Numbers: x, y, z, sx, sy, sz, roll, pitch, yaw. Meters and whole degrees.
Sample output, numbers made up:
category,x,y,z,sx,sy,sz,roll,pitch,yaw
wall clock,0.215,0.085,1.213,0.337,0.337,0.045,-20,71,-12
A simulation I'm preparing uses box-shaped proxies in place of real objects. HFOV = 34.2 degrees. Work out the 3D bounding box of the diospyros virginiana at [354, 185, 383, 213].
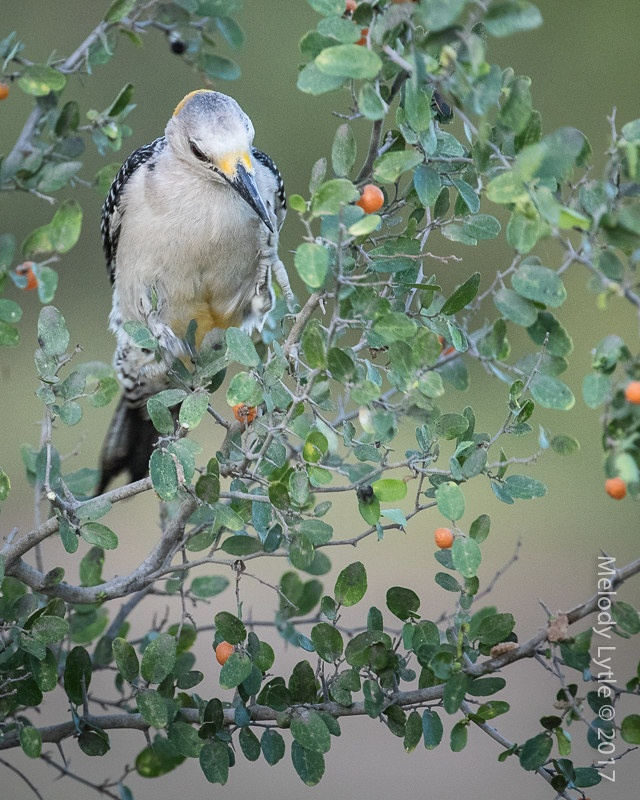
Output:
category,x,y,z,sx,sy,sz,roll,pitch,yaw
diospyros virginiana,0.114,-0.456,2.371,0.079,0.063,0.068,-2,-12,13

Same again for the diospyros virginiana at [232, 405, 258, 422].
category,x,y,z,sx,sy,sz,roll,pitch,yaw
diospyros virginiana,-0.196,0.033,2.707,0.043,0.094,0.027,-11,-83,-17

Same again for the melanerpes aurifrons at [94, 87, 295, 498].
category,x,y,z,sx,sy,sz,roll,pitch,yaw
melanerpes aurifrons,-0.566,-0.289,3.870,0.684,0.762,1.759,10,-44,-17
